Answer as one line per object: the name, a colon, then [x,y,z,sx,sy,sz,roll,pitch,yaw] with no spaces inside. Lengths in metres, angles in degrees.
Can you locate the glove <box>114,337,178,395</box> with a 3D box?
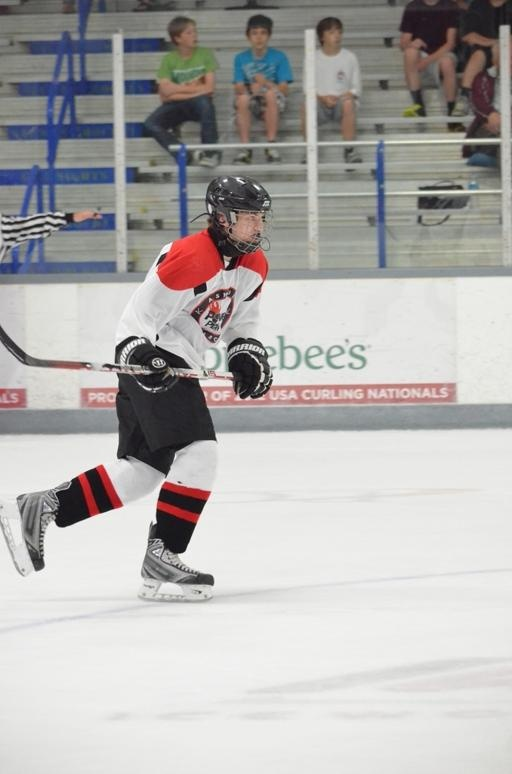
glove: [-0.246,-0.028,2.724,0.125,0.203,0.078,2,50,0]

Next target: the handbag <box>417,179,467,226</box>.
handbag: [1.131,-1.121,6.566,0.302,0.268,0.069,0,-3,-8]

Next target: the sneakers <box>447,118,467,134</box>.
sneakers: [1.330,-1.685,7.018,0.076,0.089,0.139,4,-3,-37]

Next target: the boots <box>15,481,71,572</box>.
boots: [-0.557,0.375,2.786,0.147,0.246,0.110,3,6,42]

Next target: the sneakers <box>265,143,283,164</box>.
sneakers: [0.104,-1.389,6.394,0.067,0.068,0.163,-4,23,-9]

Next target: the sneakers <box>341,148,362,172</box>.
sneakers: [0.588,-1.378,6.569,0.070,0.140,0.201,0,-15,-6]

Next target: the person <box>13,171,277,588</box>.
person: [-0.270,0.002,2.869,0.744,1.120,0.398,-5,6,-39]

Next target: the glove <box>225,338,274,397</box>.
glove: [-0.023,-0.065,3.076,0.079,0.121,0.165,-17,49,-1]

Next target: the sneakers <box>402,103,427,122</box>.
sneakers: [1.074,-1.838,7.191,0.166,0.086,0.067,-5,10,-28]

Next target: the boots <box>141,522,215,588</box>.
boots: [-0.191,0.452,2.826,0.242,0.161,0.083,6,5,30]

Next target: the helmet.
helmet: [-0.068,-0.471,2.880,0.184,0.166,0.140,14,19,27]
